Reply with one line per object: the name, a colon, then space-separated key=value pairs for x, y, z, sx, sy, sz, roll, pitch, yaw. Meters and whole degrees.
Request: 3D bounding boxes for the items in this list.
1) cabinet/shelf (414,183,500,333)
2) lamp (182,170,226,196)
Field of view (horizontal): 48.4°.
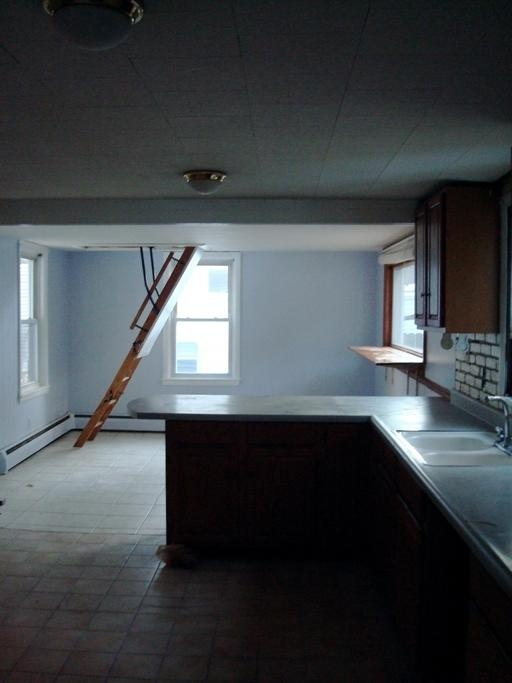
cabinet/shelf: x=0.962 y=-0.421 z=2.881 sx=0.254 sy=0.748 sz=0.501 roll=-2 pitch=3 yaw=-22
lamp: x=-0.249 y=-0.776 z=2.769 sx=0.208 sy=0.077 sz=0.241 roll=-1 pitch=3 yaw=-8
